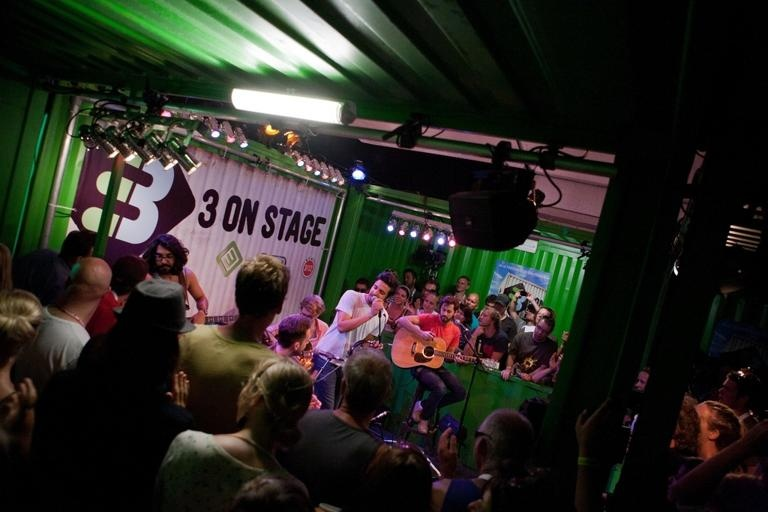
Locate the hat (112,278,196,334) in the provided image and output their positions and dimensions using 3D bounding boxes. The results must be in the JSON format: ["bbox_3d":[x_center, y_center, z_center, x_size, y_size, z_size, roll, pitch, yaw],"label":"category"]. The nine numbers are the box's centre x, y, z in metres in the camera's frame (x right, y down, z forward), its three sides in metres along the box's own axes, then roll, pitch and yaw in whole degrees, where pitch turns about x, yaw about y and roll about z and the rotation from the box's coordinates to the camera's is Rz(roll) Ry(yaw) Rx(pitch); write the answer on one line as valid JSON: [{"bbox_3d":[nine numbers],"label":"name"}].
[{"bbox_3d":[-1.369,0.298,2.753,0.296,0.203,0.387,25,-4,-11],"label":"hat"}]

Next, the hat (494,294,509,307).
[{"bbox_3d":[2.450,0.882,9.447,0.238,0.201,0.379,10,-17,35],"label":"hat"}]

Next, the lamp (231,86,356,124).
[{"bbox_3d":[-0.937,-1.489,4.498,1.394,0.295,0.185,13,2,21],"label":"lamp"}]

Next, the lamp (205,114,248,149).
[{"bbox_3d":[-2.265,-1.783,6.544,0.412,0.125,0.418,33,3,36],"label":"lamp"}]

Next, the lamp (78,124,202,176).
[{"bbox_3d":[-3.623,-1.547,6.562,1.133,0.310,0.391,19,23,9],"label":"lamp"}]

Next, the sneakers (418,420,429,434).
[{"bbox_3d":[0.573,2.494,6.713,0.150,0.169,0.164,2,-6,6],"label":"sneakers"}]

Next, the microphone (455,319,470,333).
[{"bbox_3d":[1.252,1.110,7.364,0.217,0.084,0.135,35,17,-11],"label":"microphone"}]

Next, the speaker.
[{"bbox_3d":[0.989,-0.383,4.060,0.611,0.561,0.632,14,31,41],"label":"speaker"}]
